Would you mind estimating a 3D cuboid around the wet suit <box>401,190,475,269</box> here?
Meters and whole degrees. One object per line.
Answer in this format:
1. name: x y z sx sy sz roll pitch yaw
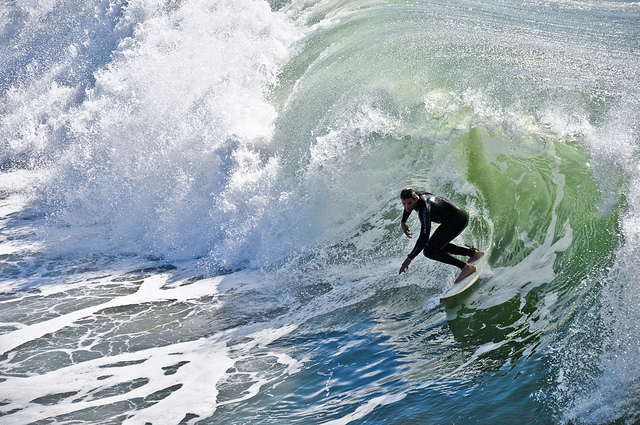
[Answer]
1. wet suit: 2.734 0.399 17.035 1.657 1.442 0.551 9 8 -34
